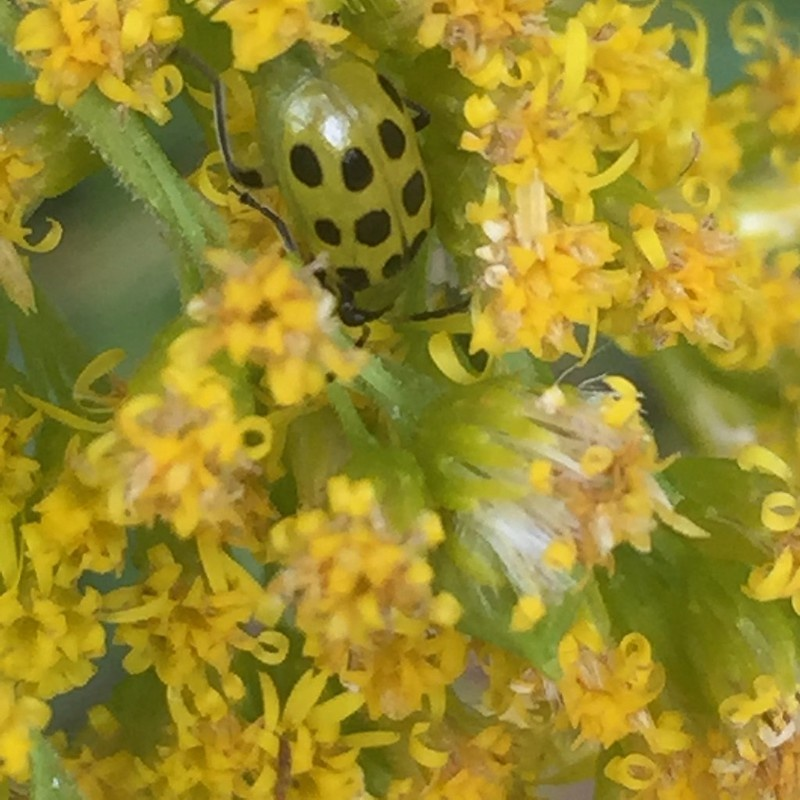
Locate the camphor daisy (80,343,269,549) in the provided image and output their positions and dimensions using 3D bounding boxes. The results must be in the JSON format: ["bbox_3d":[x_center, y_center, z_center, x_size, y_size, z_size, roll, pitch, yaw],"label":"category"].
[{"bbox_3d":[-0.197,0.067,1.228,0.173,0.100,0.160,41,75,12],"label":"camphor daisy"}]

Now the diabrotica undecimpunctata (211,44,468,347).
[{"bbox_3d":[-0.060,-0.198,1.309,0.196,0.086,0.272,-36,107,-13],"label":"diabrotica undecimpunctata"}]
